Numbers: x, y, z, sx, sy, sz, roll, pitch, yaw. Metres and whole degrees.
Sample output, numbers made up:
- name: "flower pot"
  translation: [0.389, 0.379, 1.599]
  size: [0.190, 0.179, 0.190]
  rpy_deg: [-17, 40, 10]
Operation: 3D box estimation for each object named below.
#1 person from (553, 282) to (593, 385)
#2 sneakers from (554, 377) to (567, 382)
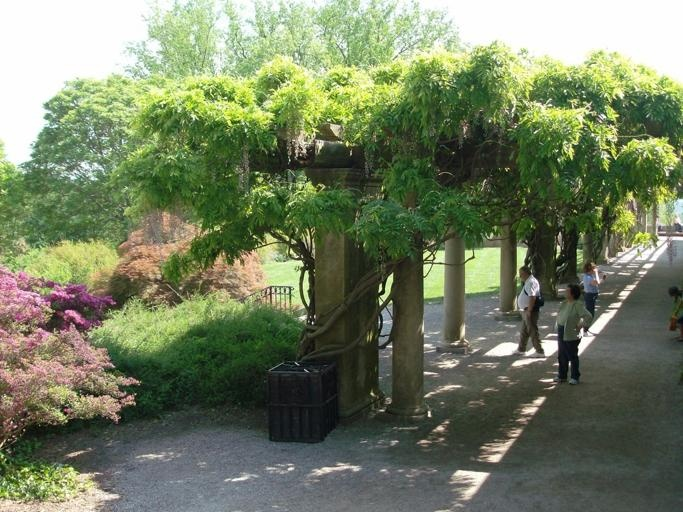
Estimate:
- name: "person"
  translation: [3.925, 1.285, 11.709]
  size: [0.550, 1.721, 0.879]
  rpy_deg: [0, 7, 17]
- name: "sneakers"
  translation: [3.714, 2.106, 11.716]
  size: [0.188, 0.092, 0.068]
  rpy_deg: [4, 9, 10]
